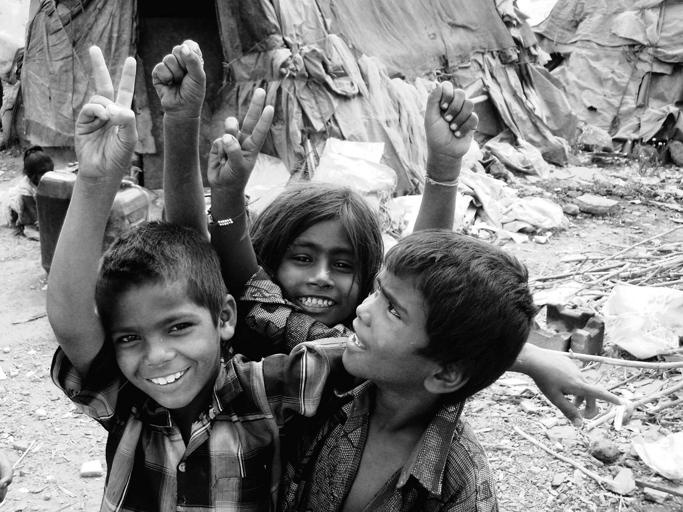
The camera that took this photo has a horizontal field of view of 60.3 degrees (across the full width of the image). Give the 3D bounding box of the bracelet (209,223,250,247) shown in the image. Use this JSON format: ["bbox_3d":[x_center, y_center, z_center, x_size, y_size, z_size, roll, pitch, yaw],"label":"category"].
[{"bbox_3d":[-0.374,-0.066,1.967,0.069,0.026,0.089,16,-15,-32],"label":"bracelet"}]

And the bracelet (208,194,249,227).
[{"bbox_3d":[-0.375,-0.150,1.950,0.115,0.053,0.148,12,-19,-33],"label":"bracelet"}]
